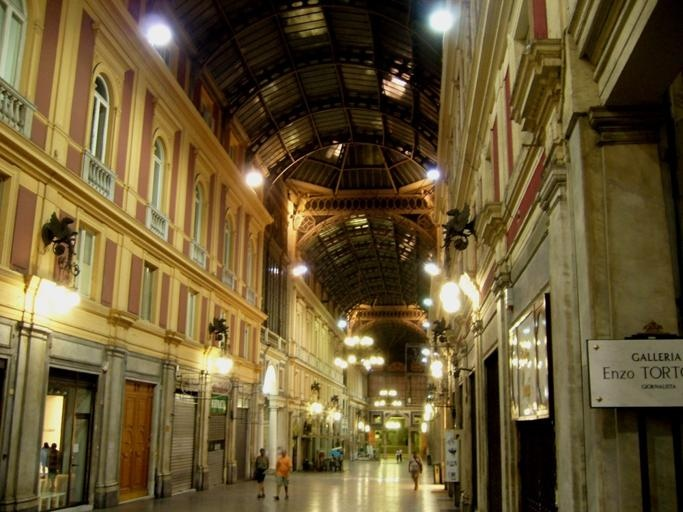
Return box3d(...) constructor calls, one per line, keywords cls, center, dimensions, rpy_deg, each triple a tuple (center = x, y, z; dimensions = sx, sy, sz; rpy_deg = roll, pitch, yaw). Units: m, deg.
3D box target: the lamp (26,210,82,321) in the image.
box3d(cls="lamp", center=(-6.656, 0.225, 14.701), dimensions=(0.709, 2.622, 1.049), rpy_deg=(12, 11, 1))
